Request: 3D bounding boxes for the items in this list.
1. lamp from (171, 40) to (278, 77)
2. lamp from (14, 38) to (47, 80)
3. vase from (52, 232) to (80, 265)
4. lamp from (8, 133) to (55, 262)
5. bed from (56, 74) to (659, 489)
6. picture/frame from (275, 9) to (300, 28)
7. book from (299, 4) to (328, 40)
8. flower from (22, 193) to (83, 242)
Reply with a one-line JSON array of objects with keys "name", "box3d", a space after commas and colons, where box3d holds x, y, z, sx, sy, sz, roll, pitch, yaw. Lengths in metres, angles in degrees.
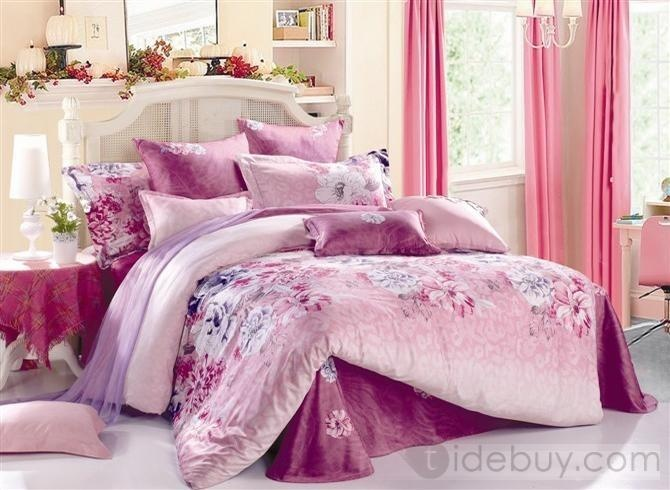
[{"name": "lamp", "box3d": [-0.804, -1.260, 4.095, 0.466, 0.156, 0.318, -1, 6, -25]}, {"name": "lamp", "box3d": [-1.798, -1.094, 3.506, 0.158, 0.197, 0.148, -13, 23, -39]}, {"name": "vase", "box3d": [-1.504, 0.022, 3.276, 0.159, 0.180, 0.165, 1, -1, 18]}, {"name": "lamp", "box3d": [-1.729, -0.272, 3.347, 0.205, 0.705, 0.209, -3, 7, -28]}, {"name": "bed", "box3d": [0.146, 0.403, 2.724, 2.085, 0.899, 0.997, -1, 6, -13]}, {"name": "picture/frame", "box3d": [-0.380, -1.748, 4.587, 0.190, 0.179, 0.180, 0, 6, -6]}, {"name": "book", "box3d": [-0.146, -1.739, 4.636, 0.267, 0.261, 0.080, -2, -2, -10]}, {"name": "flower", "box3d": [-1.605, -0.161, 3.398, 0.362, 0.207, 0.247, 22, 20, 33]}]
